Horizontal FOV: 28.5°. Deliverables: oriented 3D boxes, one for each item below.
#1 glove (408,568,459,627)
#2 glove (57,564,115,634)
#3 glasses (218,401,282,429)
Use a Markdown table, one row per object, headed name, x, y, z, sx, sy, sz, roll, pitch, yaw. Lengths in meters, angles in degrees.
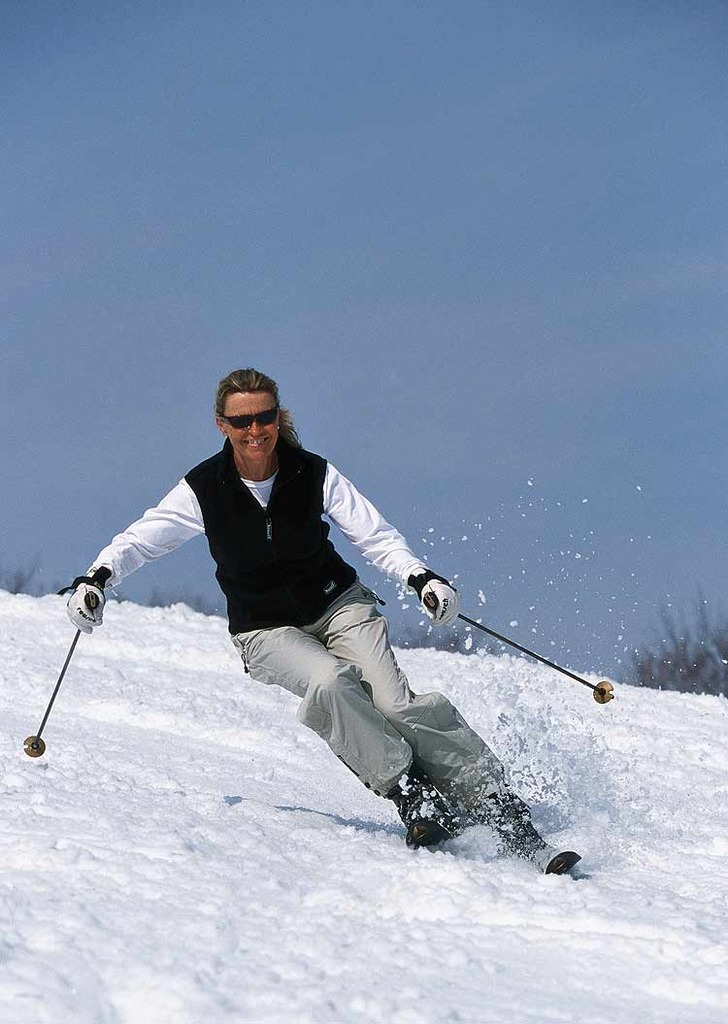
| name | x | y | z | sx | sy | sz | roll | pitch | yaw |
| --- | --- | --- | --- | --- | --- | --- | --- | --- | --- |
| glove | 0.317 | 0.349 | 5.879 | 0.200 | 0.212 | 0.234 | 5 | 5 | -17 |
| glove | -1.117 | 0.369 | 5.789 | 0.189 | 0.294 | 0.392 | 6 | 5 | -10 |
| glasses | -0.443 | -0.383 | 5.825 | 0.194 | 0.108 | 0.098 | 5 | 5 | -11 |
